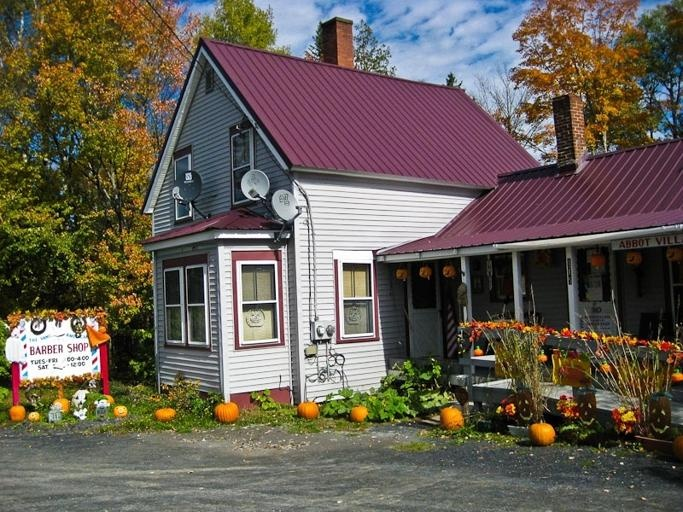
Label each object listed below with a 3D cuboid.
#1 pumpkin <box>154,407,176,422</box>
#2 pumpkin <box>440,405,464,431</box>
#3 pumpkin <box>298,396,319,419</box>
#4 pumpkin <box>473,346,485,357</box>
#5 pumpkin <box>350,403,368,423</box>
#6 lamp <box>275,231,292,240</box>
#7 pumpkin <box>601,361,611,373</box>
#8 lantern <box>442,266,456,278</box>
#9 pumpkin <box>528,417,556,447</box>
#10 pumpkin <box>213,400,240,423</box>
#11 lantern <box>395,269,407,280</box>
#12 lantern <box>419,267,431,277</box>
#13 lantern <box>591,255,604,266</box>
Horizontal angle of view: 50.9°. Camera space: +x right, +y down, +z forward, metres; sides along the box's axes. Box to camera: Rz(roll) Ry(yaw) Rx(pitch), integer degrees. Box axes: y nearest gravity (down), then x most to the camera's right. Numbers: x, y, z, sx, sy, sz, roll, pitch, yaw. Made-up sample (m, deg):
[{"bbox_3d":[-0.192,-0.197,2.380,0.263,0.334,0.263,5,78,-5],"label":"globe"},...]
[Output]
[{"bbox_3d":[-4.496,4.025,18.288,0.502,0.228,0.609,-2,4,-15],"label":"pumpkin"},{"bbox_3d":[2.574,3.781,16.800,0.420,0.475,0.448,-6,0,27],"label":"pumpkin"},{"bbox_3d":[-0.888,3.892,18.450,0.407,0.422,0.410,1,1,-23],"label":"pumpkin"},{"bbox_3d":[3.266,2.285,17.290,0.218,0.231,0.221,-5,-4,42],"label":"pumpkin"},{"bbox_3d":[0.434,3.981,18.153,0.334,0.346,0.349,-6,-8,30],"label":"pumpkin"},{"bbox_3d":[-1.584,-0.547,19.259,0.431,0.290,0.207,-4,4,-37],"label":"lamp"},{"bbox_3d":[5.396,2.285,14.658,0.184,0.208,0.303,0,4,19],"label":"pumpkin"},{"bbox_3d":[3.075,0.463,20.561,0.291,0.370,0.334,10,-10,-35],"label":"lantern"},{"bbox_3d":[4.170,3.664,15.014,0.420,0.458,0.453,3,2,5],"label":"pumpkin"},{"bbox_3d":[-2.911,3.928,18.012,0.457,0.492,0.478,0,2,8],"label":"pumpkin"},{"bbox_3d":[1.719,0.538,20.838,0.249,0.316,0.221,10,-8,-29],"label":"lantern"},{"bbox_3d":[2.357,0.461,20.737,0.292,0.309,0.271,13,5,44],"label":"lantern"},{"bbox_3d":[6.725,0.130,18.898,0.331,0.311,0.445,0,4,22],"label":"lantern"}]
